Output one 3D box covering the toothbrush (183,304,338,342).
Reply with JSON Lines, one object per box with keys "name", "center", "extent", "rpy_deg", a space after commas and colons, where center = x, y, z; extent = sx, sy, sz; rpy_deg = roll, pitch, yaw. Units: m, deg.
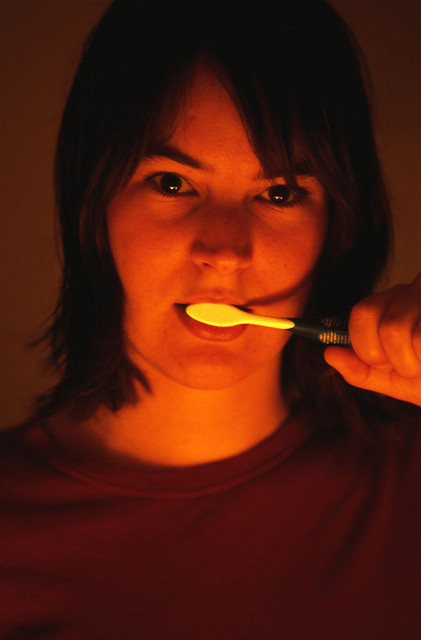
{"name": "toothbrush", "center": [0.047, 0.004, 0.717], "extent": [0.202, 0.027, 0.017], "rpy_deg": [8, 21, 23]}
